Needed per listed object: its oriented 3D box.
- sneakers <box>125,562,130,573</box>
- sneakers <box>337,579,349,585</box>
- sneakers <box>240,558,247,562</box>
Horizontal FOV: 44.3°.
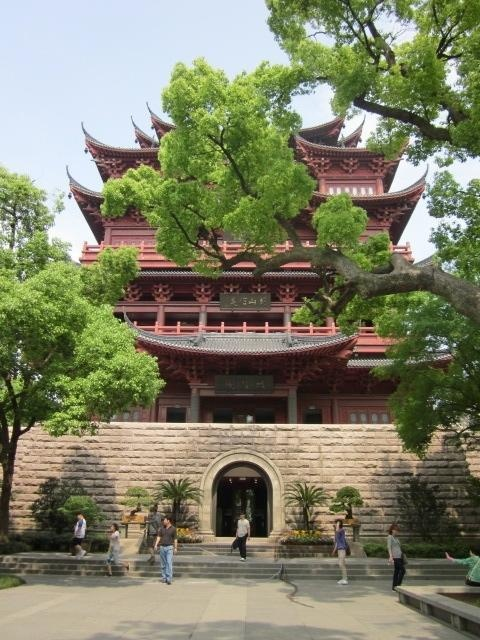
[{"bbox_3d":[-2.326,5.120,12.192,0.064,0.162,0.068,4,-30,-14],"label":"sneakers"},{"bbox_3d":[2.003,5.079,11.433,0.180,0.079,0.285,-1,-16,11],"label":"sneakers"},{"bbox_3d":[0.061,5.467,13.449,0.086,0.139,0.221,-5,-26,13],"label":"sneakers"}]
